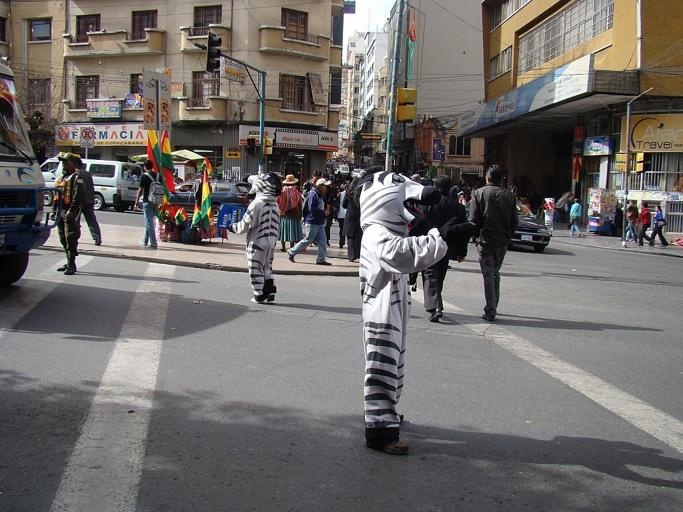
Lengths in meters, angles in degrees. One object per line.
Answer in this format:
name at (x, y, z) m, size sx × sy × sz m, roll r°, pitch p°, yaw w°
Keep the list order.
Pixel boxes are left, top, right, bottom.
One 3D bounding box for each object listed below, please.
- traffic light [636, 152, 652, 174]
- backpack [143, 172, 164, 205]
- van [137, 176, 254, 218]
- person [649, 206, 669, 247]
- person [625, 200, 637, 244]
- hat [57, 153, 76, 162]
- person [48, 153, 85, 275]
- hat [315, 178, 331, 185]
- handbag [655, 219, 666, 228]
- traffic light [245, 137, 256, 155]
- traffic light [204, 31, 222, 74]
traffic light at (11.526, -3.579, 23.910) m, size 0.380 × 0.674 × 1.112 m, roll 9°, pitch 9°, yaw 40°
backpack at (-4.462, -1.595, 14.887) m, size 0.392 × 0.725 × 0.478 m, roll 0°, pitch 3°, yaw 14°
van at (-5.397, -2.395, 24.004) m, size 3.366 × 1.443 × 1.629 m, roll 3°, pitch 5°, yaw -2°
person at (12.383, -1.172, 24.075) m, size 0.653 × 1.496 × 2.185 m, roll 7°, pitch 8°, yaw 28°
person at (11.406, -1.289, 24.424) m, size 0.491 × 1.532 × 1.550 m, roll 6°, pitch 8°, yaw 26°
hat at (-4.856, -1.734, 10.916) m, size 0.244 × 0.088 × 0.180 m, roll 1°, pitch 5°, yaw 14°
person at (-4.884, -0.764, 11.109) m, size 0.461 × 2.093 × 0.979 m, roll -1°, pitch 8°, yaw -26°
hat at (-0.440, -1.895, 15.870) m, size 0.396 × 0.152 × 0.281 m, roll -4°, pitch 9°, yaw -38°
handbag at (12.111, -1.215, 23.678) m, size 0.269 × 0.125 × 0.255 m, roll 1°, pitch 23°, yaw 23°
traffic light at (-4.150, -4.983, 28.427) m, size 0.285 × 0.705 × 0.702 m, roll 0°, pitch 8°, yaw -21°
traffic light at (-4.235, -6.747, 20.491) m, size 0.418 × 1.322 × 1.517 m, roll 2°, pitch 8°, yaw -11°
